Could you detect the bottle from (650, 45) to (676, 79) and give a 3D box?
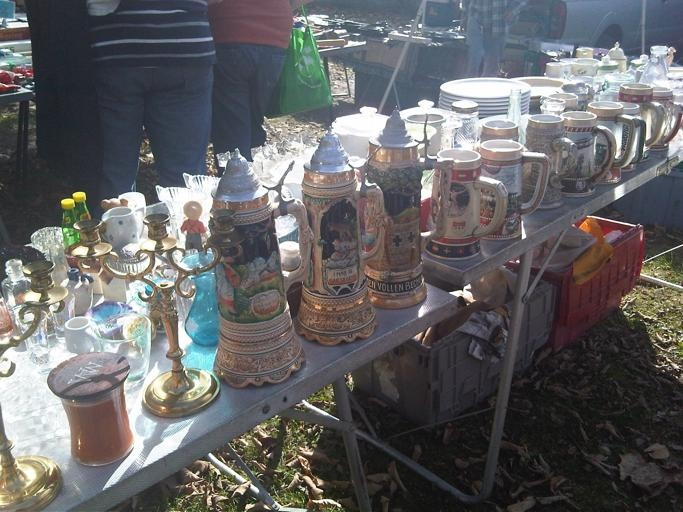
[{"bbox_3d":[2.170,-1.327,3.695,0.135,0.181,0.826,11,23,27],"label":"bottle"}]

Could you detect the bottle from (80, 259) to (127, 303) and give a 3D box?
[{"bbox_3d":[-0.718,0.070,1.634,0.120,0.125,0.068,-6,35,-22],"label":"bottle"}]

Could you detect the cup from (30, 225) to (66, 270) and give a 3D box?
[{"bbox_3d":[-0.939,-0.027,1.738,0.121,0.126,0.109,13,19,38],"label":"cup"}]

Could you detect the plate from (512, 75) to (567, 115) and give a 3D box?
[{"bbox_3d":[1.125,-0.953,3.103,0.291,0.051,0.300,17,40,32],"label":"plate"}]

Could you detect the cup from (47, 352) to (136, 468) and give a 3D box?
[{"bbox_3d":[-0.591,0.367,1.270,0.171,0.217,0.173,0,26,0],"label":"cup"}]

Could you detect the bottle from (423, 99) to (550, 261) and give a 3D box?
[{"bbox_3d":[0.440,-0.256,1.964,0.536,0.415,0.318,8,30,21],"label":"bottle"}]

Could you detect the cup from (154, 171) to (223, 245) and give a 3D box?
[{"bbox_3d":[-0.540,-0.198,1.841,0.259,0.246,0.269,2,21,-1],"label":"cup"}]
